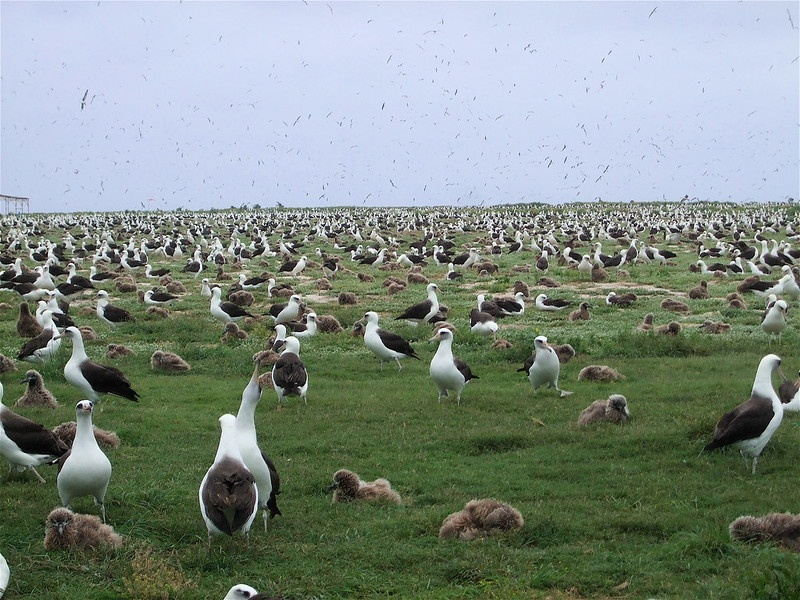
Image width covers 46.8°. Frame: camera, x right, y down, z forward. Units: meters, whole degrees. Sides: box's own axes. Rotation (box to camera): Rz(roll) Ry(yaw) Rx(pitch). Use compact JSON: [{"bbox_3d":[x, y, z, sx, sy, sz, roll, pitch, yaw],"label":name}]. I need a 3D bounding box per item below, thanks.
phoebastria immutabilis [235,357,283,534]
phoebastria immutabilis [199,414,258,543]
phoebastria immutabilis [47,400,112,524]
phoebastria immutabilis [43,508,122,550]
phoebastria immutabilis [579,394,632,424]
[{"bbox_3d":[-2.130,2.277,13.856,0.992,2.248,1.179,-2,6,-7],"label":"phoebastria immutabilis"},{"bbox_3d":[-2.352,2.487,12.857,0.859,1.532,1.173,0,6,-8],"label":"phoebastria immutabilis"},{"bbox_3d":[-4.631,2.352,13.596,0.708,1.761,0.656,5,8,-19],"label":"phoebastria immutabilis"},{"bbox_3d":[-4.407,3.209,12.869,1.029,0.581,0.547,5,8,-17],"label":"phoebastria immutabilis"},{"bbox_3d":[3.861,2.122,17.444,0.815,0.496,0.561,-6,8,4],"label":"phoebastria immutabilis"}]
